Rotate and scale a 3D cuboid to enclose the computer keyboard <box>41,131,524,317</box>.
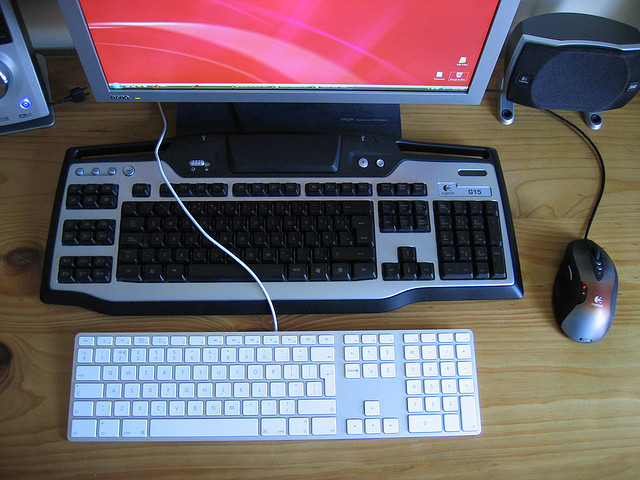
[{"bbox_3d":[-0.060,-0.032,0.900,0.745,0.119,0.305,0,57,-2],"label":"computer keyboard"}]

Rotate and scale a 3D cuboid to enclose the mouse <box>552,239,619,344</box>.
[{"bbox_3d":[0.396,0.081,0.867,0.107,0.065,0.153,19,75,-7],"label":"mouse"}]
